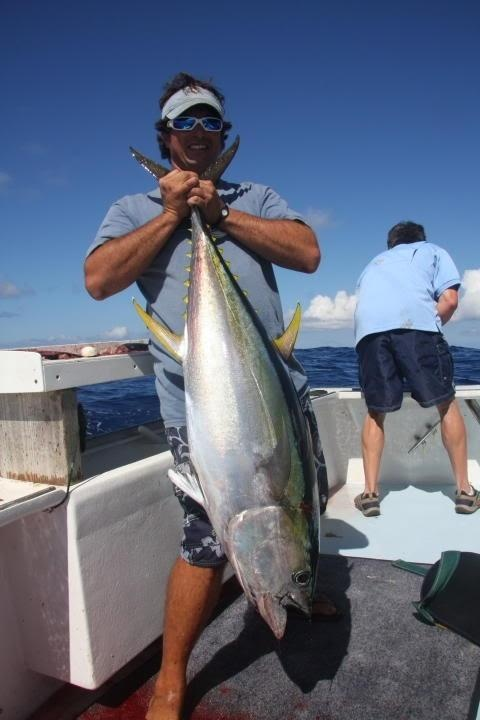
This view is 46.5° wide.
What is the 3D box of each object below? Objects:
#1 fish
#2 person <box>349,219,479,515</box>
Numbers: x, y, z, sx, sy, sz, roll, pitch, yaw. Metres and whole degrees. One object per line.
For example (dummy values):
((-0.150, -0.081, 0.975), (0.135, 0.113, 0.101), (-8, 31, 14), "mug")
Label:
((-0.003, 0.106, 1.339), (0.275, 0.939, 0.409), (-6, 6, -39), "fish")
((0.993, -0.007, 3.261), (0.684, 1.662, 0.696), (-2, 5, 11), "person")
